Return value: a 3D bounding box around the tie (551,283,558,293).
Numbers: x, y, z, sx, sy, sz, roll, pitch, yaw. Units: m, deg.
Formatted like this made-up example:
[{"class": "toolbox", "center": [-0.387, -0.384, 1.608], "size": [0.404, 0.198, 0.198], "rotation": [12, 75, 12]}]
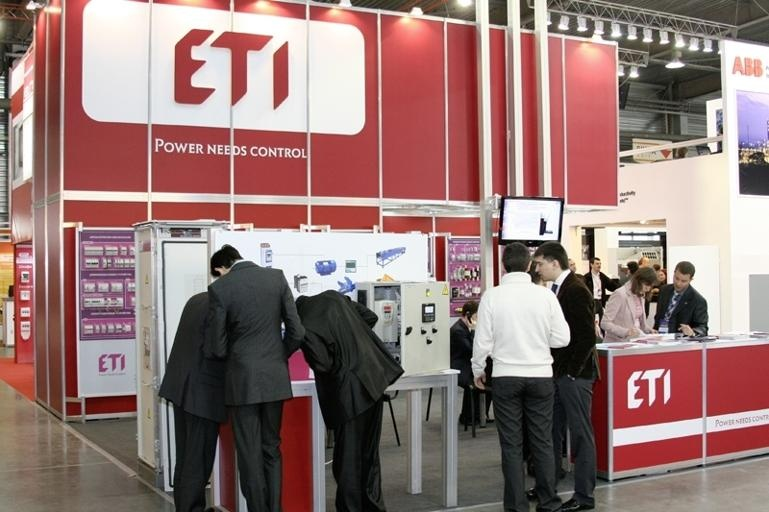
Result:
[{"class": "tie", "center": [1.689, 0.321, 7.891], "size": [0.058, 0.113, 0.093], "rotation": [1, -2, -4]}]
